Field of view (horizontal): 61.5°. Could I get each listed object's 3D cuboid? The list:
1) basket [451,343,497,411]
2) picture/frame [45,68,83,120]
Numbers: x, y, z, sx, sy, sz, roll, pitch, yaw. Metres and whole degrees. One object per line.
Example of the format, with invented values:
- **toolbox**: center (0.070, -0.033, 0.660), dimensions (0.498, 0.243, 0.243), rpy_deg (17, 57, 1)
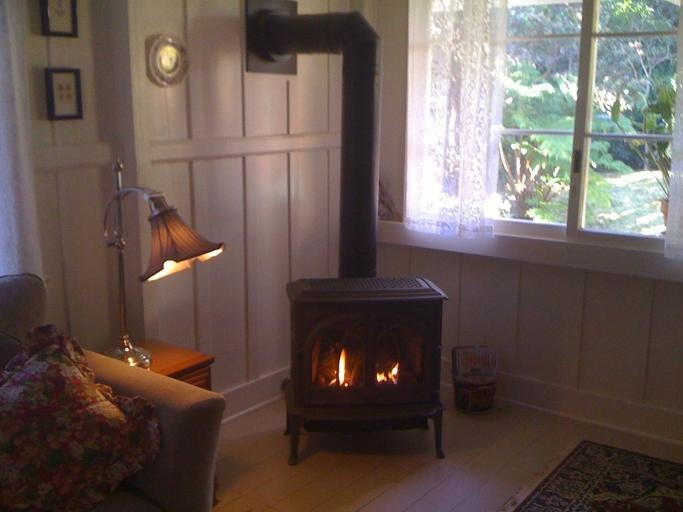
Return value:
- **basket**: center (0.742, 0.707, 3.325), dimensions (0.273, 0.384, 0.338), rpy_deg (-1, -3, 2)
- **picture/frame**: center (-1.195, -0.697, 2.452), dimensions (0.023, 0.250, 0.200), rpy_deg (7, 12, 29)
